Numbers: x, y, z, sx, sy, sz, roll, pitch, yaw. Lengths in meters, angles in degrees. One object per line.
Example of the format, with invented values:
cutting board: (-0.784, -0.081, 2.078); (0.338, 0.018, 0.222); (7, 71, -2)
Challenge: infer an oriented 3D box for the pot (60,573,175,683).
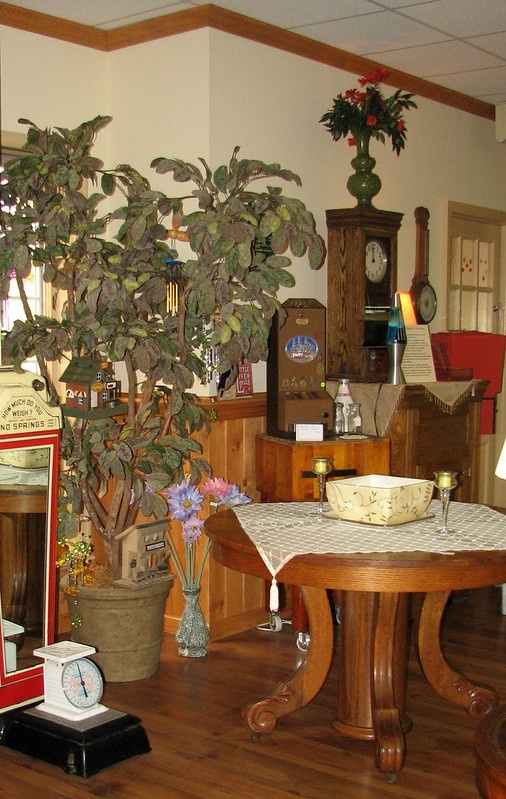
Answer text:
pot: (-0.492, 0.876, 2.346); (0.386, 0.307, 0.394); (-1, -3, 0)

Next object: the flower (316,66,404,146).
flower: (0.632, -1.494, 3.363); (0.445, 0.402, 0.454); (17, 28, 42)

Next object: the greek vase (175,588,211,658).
greek vase: (-0.261, 0.970, 2.702); (0.143, 0.266, 0.131); (-2, -4, 2)

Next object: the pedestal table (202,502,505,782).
pedestal table: (0.356, 0.635, 1.669); (0.719, 0.502, 0.741); (6, 13, 37)

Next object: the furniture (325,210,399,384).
furniture: (0.610, -0.557, 3.360); (0.431, 0.949, 0.333); (0, -5, -2)

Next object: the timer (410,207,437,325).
timer: (1.151, -0.870, 4.181); (0.117, 0.748, 0.376); (-3, -6, 34)

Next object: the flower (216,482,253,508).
flower: (-0.069, 0.375, 2.413); (0.117, 0.066, 0.113); (21, -1, -42)

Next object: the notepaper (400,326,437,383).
notepaper: (0.949, -0.247, 3.457); (0.171, 0.316, 0.179); (-3, 6, 38)

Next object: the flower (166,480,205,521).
flower: (-0.269, 0.398, 2.495); (0.158, 0.166, 0.065); (10, 3, -1)
